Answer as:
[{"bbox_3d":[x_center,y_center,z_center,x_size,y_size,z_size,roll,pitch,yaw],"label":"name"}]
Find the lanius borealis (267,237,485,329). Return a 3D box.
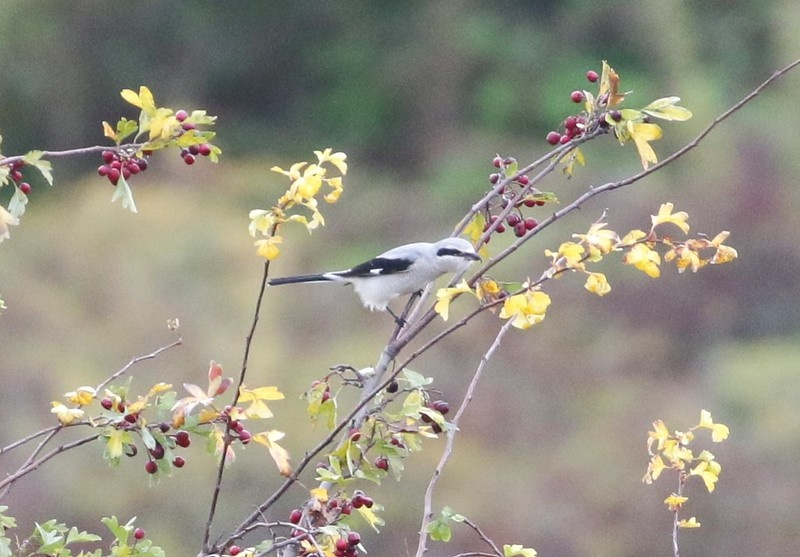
[{"bbox_3d":[-0.294,0.025,9.009,2.101,0.604,0.838,-2,-91,21],"label":"lanius borealis"}]
